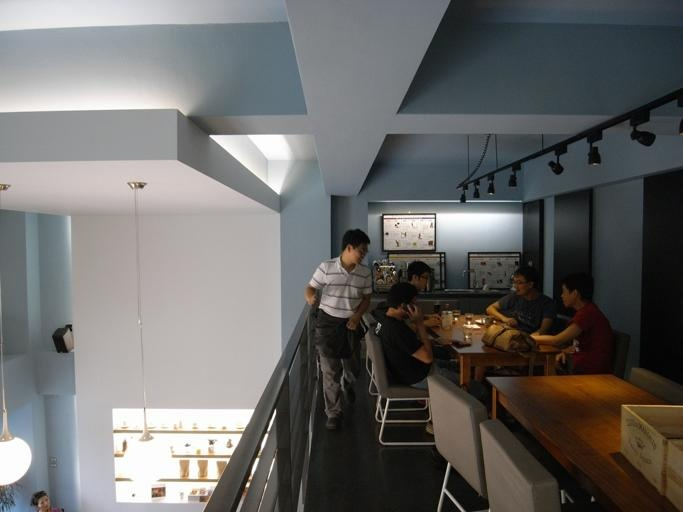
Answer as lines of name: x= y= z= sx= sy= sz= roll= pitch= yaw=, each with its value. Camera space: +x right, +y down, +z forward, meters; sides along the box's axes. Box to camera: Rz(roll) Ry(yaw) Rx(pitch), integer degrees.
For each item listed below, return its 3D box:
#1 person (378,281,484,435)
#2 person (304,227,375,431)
person: x=0.697 y=0.877 z=5.001 sx=0.714 sy=1.491 sz=0.572 roll=-23 pitch=28 yaw=-25
person: x=-0.009 y=0.693 z=5.126 sx=0.601 sy=1.831 sz=0.622 roll=-3 pitch=0 yaw=-17
